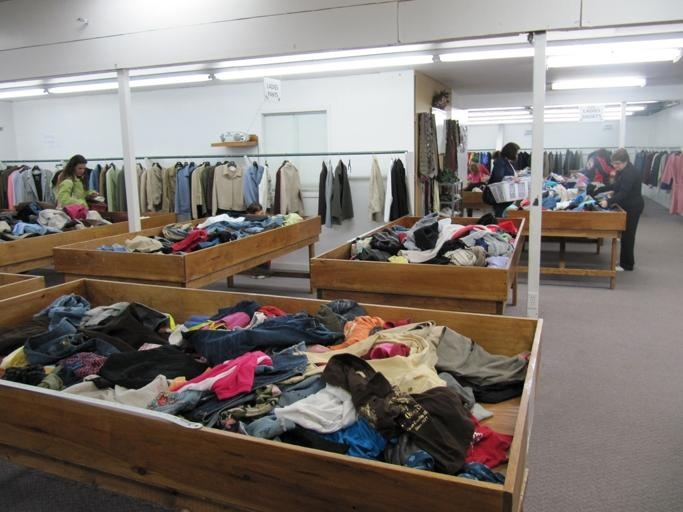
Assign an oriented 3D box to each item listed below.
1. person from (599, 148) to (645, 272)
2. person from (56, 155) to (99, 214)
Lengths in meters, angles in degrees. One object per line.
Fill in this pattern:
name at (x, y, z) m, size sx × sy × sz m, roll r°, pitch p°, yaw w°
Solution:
person at (4.301, -0.672, 7.011) m, size 0.471 × 1.868 × 0.657 m, roll 7°, pitch 15°, yaw 30°
person at (-4.067, -1.031, 6.931) m, size 0.632 × 0.927 × 0.662 m, roll 10°, pitch 16°, yaw -11°
